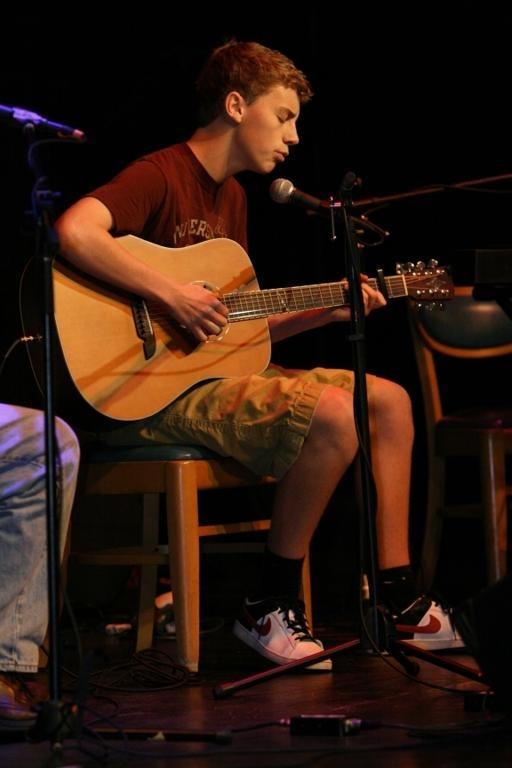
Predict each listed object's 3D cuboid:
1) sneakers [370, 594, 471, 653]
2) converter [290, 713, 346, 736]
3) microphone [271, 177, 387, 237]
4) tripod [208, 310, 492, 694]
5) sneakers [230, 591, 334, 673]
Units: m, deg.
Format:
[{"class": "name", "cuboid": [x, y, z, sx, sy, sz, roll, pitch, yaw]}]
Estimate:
[{"class": "sneakers", "cuboid": [0.384, 0.538, 1.791, 0.244, 0.093, 0.077, 13, 9, -17]}, {"class": "converter", "cuboid": [0.094, 0.526, 1.221, 0.088, 0.031, 0.029, -1, 10, 4]}, {"class": "microphone", "cuboid": [0.193, -0.370, 1.672, 0.224, 0.117, 0.401, 4, 11, 29]}, {"class": "tripod", "cuboid": [0.208, 0.261, 1.545, 0.461, 0.796, 0.496, 1, 11, 15]}, {"class": "sneakers", "cuboid": [0.048, 0.549, 1.773, 0.096, 0.102, 0.278, 10, -2, -37]}]
